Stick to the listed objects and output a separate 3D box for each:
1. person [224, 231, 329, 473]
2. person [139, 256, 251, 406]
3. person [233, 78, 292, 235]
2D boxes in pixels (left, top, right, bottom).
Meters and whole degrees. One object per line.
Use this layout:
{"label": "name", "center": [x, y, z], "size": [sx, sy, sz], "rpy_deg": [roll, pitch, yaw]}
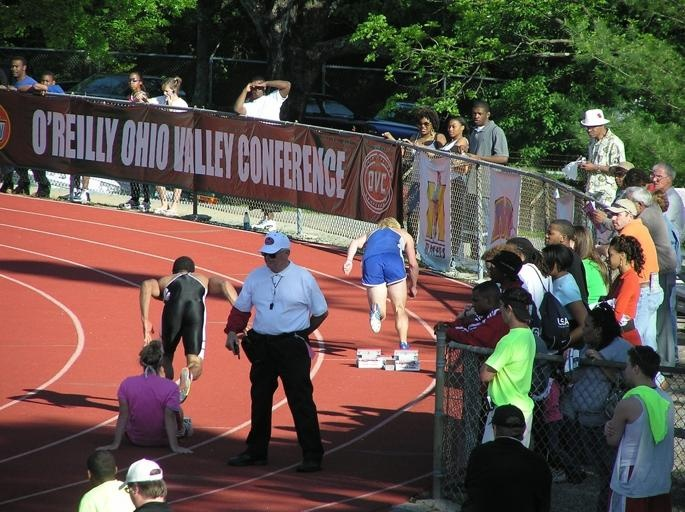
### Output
{"label": "person", "center": [-0.930, 1.324, 16.313], "size": [1.360, 3.211, 1.095], "rpy_deg": [0, 3, 9]}
{"label": "person", "center": [-2.442, 0.940, 17.767], "size": [0.899, 2.520, 1.155], "rpy_deg": [0, 1, 10]}
{"label": "person", "center": [-2.028, -2.698, 28.716], "size": [1.326, 3.191, 0.984], "rpy_deg": [2, 13, 0]}
